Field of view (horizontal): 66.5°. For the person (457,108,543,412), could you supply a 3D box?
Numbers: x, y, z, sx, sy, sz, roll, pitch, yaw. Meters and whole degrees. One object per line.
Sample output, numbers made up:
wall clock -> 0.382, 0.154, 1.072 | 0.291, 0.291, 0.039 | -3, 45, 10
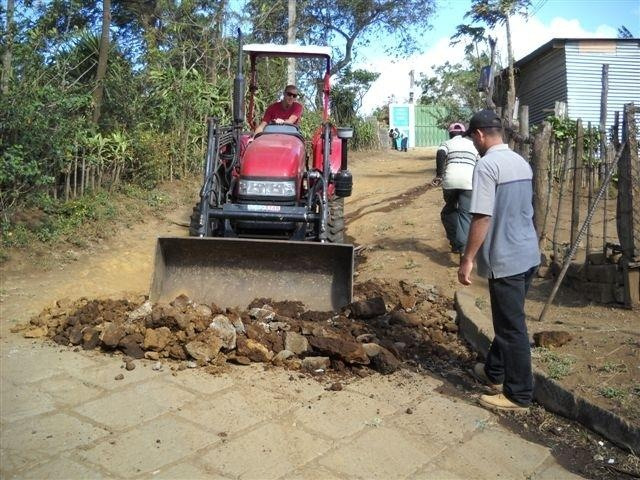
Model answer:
person -> 1.527, 0.174, 4.109 | 0.642, 2.515, 0.481 | 4, 8, 25

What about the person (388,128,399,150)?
person -> 4.680, -6.352, 30.685 | 0.524, 1.339, 1.736 | 2, 8, 8

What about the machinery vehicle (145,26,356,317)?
machinery vehicle -> -0.713, -1.082, 6.421 | 2.320, 3.551, 2.593 | 1, 7, 0

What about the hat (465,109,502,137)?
hat -> 1.409, -1.018, 4.239 | 0.177, 0.160, 0.258 | -9, 17, -21

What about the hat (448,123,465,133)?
hat -> 2.103, -1.729, 7.475 | 0.180, 0.105, 0.275 | -3, 3, 10
